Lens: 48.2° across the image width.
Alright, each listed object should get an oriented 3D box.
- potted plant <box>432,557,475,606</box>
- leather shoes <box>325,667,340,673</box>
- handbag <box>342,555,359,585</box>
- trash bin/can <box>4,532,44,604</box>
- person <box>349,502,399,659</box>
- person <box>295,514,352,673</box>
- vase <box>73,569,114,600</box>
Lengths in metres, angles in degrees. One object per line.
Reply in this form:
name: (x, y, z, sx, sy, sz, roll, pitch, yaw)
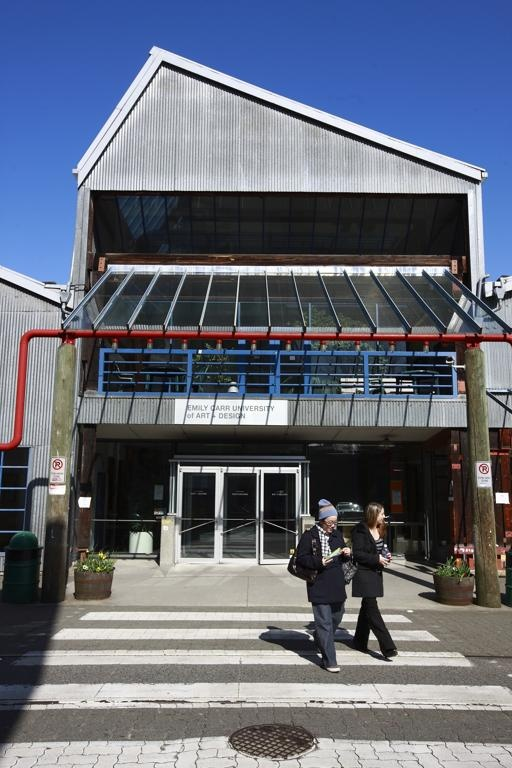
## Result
potted plant: (3.644, 3.653, 10.601, 0.620, 0.729, 0.705, 2, -15, -4)
leather shoes: (0.767, 2.875, 5.771, 0.140, 0.062, 0.110, -3, -13, 15)
handbag: (1.036, 2.042, 6.298, 0.088, 0.325, 0.218, 15, -8, -38)
trash bin/can: (-4.193, 3.292, 10.288, 0.607, 1.173, 0.521, 5, -12, -22)
person: (1.335, 2.227, 6.518, 0.456, 1.711, 0.831, -2, -12, 13)
person: (0.731, 2.116, 6.086, 0.477, 1.691, 0.577, -7, -14, 32)
vase: (-3.000, 3.660, 10.509, 0.546, 0.387, 0.507, -2, -12, 19)
